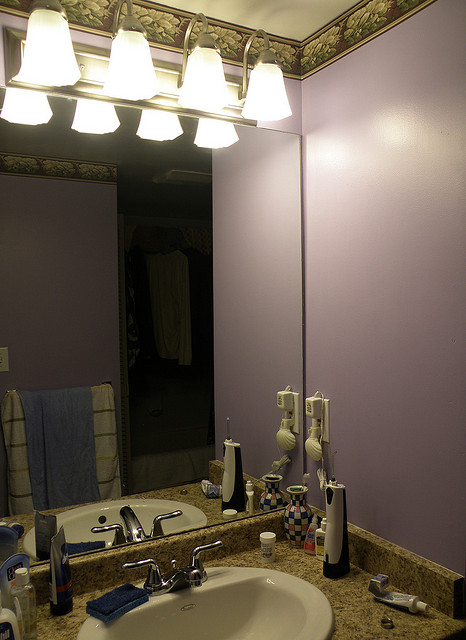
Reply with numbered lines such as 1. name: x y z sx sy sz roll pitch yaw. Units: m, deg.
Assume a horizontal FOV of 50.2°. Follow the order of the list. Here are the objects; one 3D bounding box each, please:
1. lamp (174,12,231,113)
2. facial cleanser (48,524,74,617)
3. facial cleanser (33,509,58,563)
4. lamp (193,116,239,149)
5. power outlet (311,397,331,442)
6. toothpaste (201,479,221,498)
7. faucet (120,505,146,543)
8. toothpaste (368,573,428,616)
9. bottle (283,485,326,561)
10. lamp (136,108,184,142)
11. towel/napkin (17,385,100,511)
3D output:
1. lamp: -0.077 -0.654 1.235 0.123 0.254 0.105 0 -2 24
2. facial cleanser: -0.366 0.542 1.069 0.058 0.150 0.084 1 6 -13
3. facial cleanser: -0.436 0.504 1.152 0.035 0.107 0.080 -14 -16 21
4. lamp: -0.048 -0.537 1.441 0.122 0.085 0.065 -10 16 -38
5. power outlet: 0.271 0.300 1.505 0.051 0.131 0.060 -2 3 16
6. toothpaste: -0.062 0.486 1.425 0.040 0.033 0.058 2 13 -28
7. faucet: -0.265 0.534 1.300 0.036 0.137 0.043 -9 -17 -35
8. toothpaste: 0.370 0.618 1.120 0.088 0.057 0.145 -4 2 -26
9. bottle: 0.193 0.574 1.414 0.128 0.264 0.136 1 -11 0
10. lamp: -0.201 -0.529 1.350 0.109 0.080 0.070 -8 14 -42
11. towel/napkin: -0.430 0.312 1.228 0.187 0.424 0.090 0 -2 -28
